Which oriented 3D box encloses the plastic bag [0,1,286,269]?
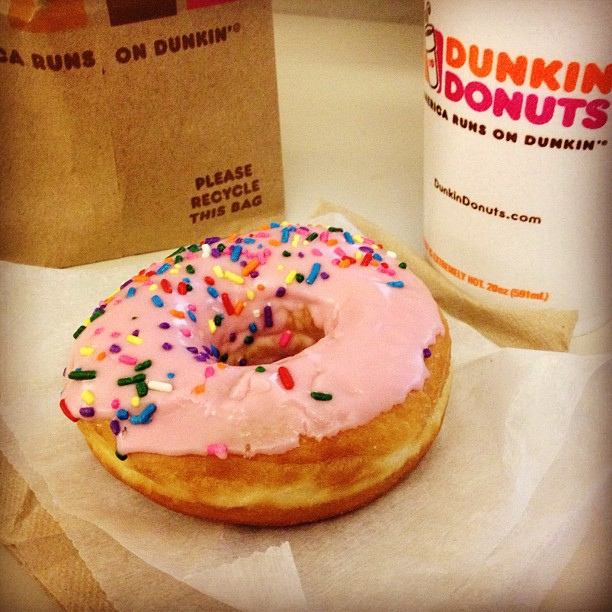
[{"bbox_3d":[-0.421,-0.425,1.629,0.644,0.597,0.230,-13,44,-13],"label":"plastic bag"}]
